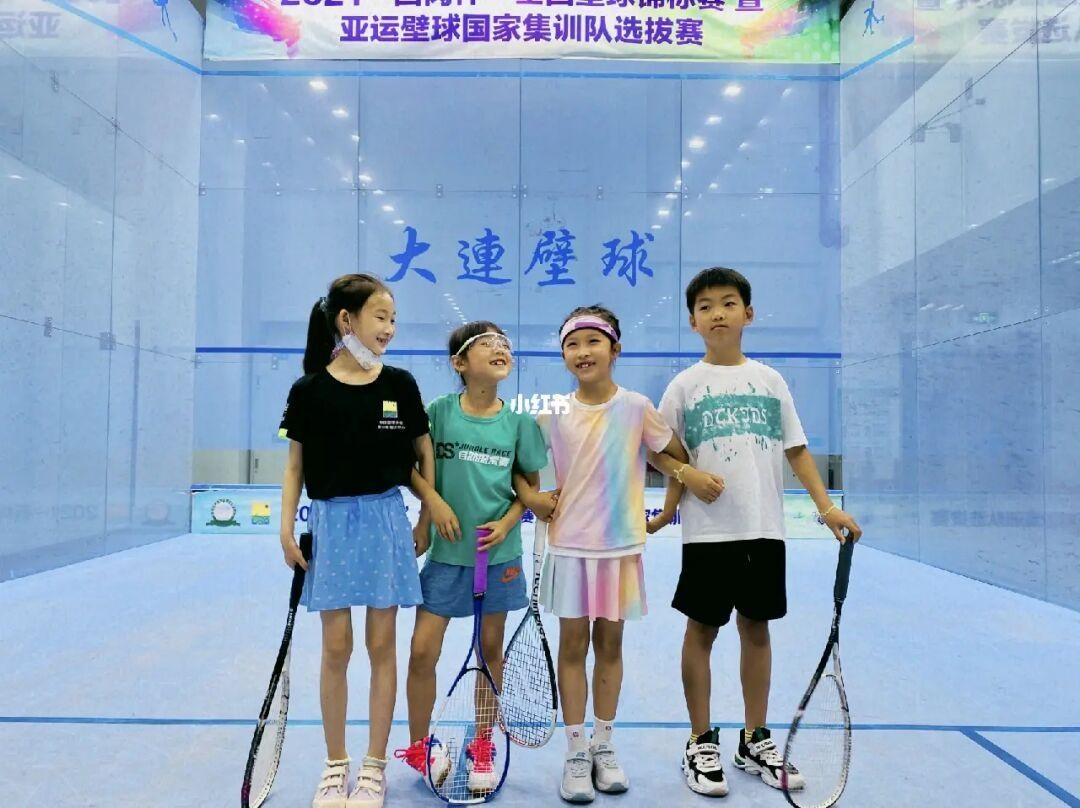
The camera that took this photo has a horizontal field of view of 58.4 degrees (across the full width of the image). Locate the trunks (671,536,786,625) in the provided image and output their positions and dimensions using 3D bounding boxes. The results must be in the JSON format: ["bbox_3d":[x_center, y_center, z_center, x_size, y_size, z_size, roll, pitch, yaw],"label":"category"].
[{"bbox_3d":[0.931,0.855,4.775,0.662,0.524,0.381,-1,-11,7],"label":"trunks"}]

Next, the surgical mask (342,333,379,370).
[{"bbox_3d":[-0.854,-0.241,4.684,0.103,0.184,0.136,-41,-3,10],"label":"surgical mask"}]

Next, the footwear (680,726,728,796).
[{"bbox_3d":[0.792,1.713,4.619,0.216,0.280,0.194,-1,-5,8],"label":"footwear"}]

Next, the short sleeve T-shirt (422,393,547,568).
[{"bbox_3d":[-0.286,0.381,4.718,0.761,0.941,0.353,2,-7,-4],"label":"short sleeve T-shirt"}]

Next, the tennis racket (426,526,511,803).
[{"bbox_3d":[-0.347,1.245,4.654,0.423,1.264,0.666,0,-5,-2],"label":"tennis racket"}]

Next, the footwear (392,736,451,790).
[{"bbox_3d":[-0.558,1.709,4.607,0.145,0.141,0.319,-27,-2,-29],"label":"footwear"}]

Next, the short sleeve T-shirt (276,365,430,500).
[{"bbox_3d":[-0.851,0.131,4.815,0.969,0.859,0.525,0,-5,-7],"label":"short sleeve T-shirt"}]

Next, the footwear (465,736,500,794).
[{"bbox_3d":[-0.269,1.704,4.613,0.150,0.246,0.208,0,-5,-3],"label":"footwear"}]

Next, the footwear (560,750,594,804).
[{"bbox_3d":[0.185,1.751,4.544,0.178,0.231,0.135,1,-5,-14],"label":"footwear"}]

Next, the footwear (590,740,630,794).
[{"bbox_3d":[0.333,1.731,4.584,0.178,0.216,0.091,-1,-5,3],"label":"footwear"}]

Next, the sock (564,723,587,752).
[{"bbox_3d":[0.181,1.591,4.605,0.105,0.130,0.116,-1,-5,3],"label":"sock"}]

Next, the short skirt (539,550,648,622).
[{"bbox_3d":[0.270,0.889,4.647,0.504,0.355,0.315,1,-14,0],"label":"short skirt"}]

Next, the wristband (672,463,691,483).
[{"bbox_3d":[0.686,0.341,4.713,0.101,0.071,0.107,1,28,18],"label":"wristband"}]

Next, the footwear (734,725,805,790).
[{"bbox_3d":[1.063,1.697,4.690,0.153,0.227,0.416,-1,2,-27],"label":"footwear"}]

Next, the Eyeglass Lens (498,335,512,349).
[{"bbox_3d":[-0.169,-0.311,4.797,0.077,0.037,0.098,3,-22,9],"label":"Eyeglass Lens"}]

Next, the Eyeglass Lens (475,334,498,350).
[{"bbox_3d":[-0.251,-0.305,4.701,0.070,0.022,0.067,2,-15,-45],"label":"Eyeglass Lens"}]
